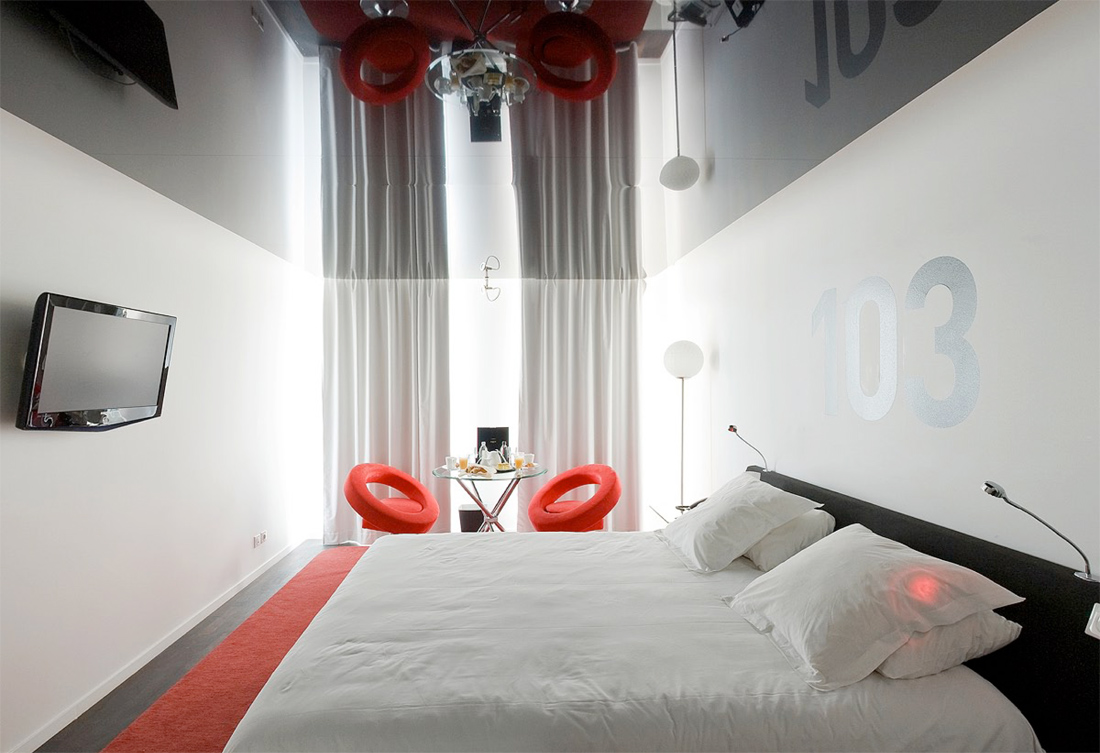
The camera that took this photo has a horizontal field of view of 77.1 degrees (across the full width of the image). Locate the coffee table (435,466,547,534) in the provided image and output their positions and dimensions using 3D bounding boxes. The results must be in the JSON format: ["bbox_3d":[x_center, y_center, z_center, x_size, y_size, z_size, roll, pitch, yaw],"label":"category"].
[{"bbox_3d":[-0.523,1.000,5.656,0.691,0.507,0.724,-1,0,-1],"label":"coffee table"}]

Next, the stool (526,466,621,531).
[{"bbox_3d":[0.189,0.965,5.334,0.580,0.553,0.562,-12,-11,44],"label":"stool"}]
